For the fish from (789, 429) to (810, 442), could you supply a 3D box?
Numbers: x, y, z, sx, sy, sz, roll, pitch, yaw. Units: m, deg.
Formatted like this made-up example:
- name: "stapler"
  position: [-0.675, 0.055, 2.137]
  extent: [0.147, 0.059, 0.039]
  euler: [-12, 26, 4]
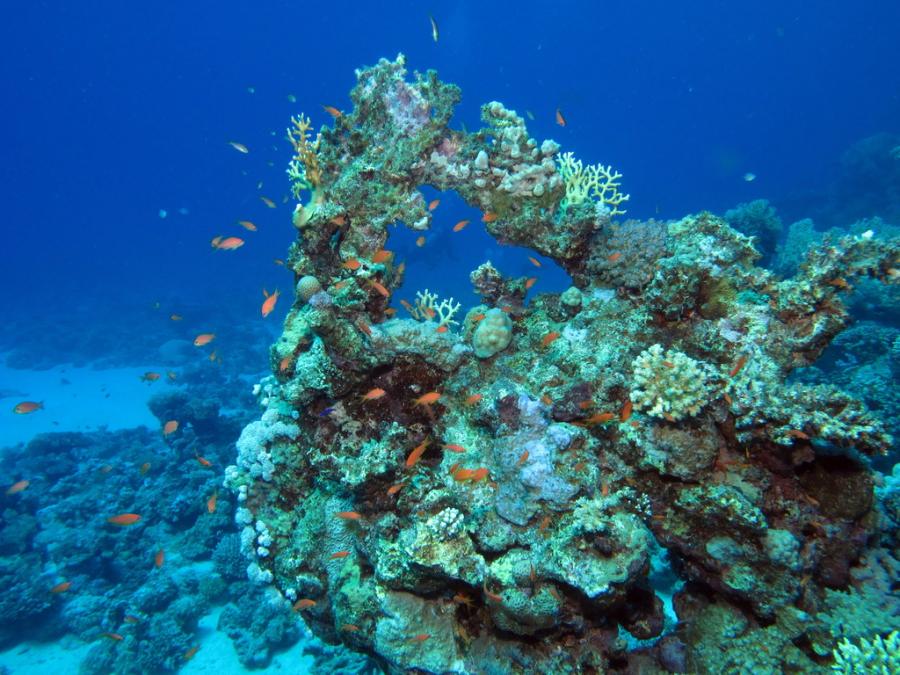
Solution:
- name: "fish"
  position: [8.038, 2.239, 16.072]
  extent: [0.362, 0.150, 0.288]
  euler: [2, 2, -2]

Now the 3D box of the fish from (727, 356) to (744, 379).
- name: "fish"
  position: [6.891, 0.693, 16.765]
  extent: [0.483, 0.120, 0.348]
  euler: [-59, 4, -18]
